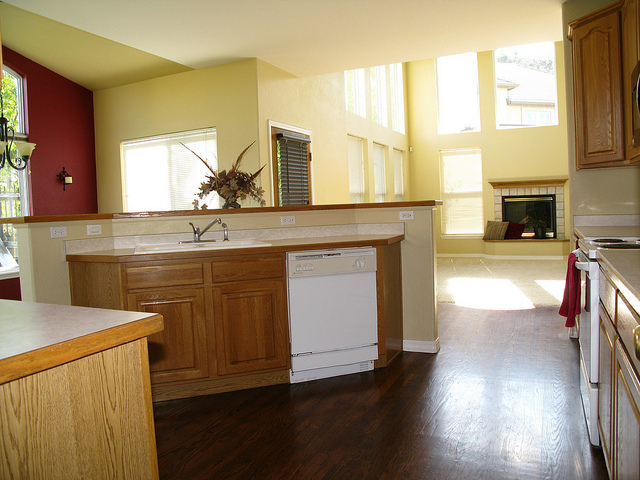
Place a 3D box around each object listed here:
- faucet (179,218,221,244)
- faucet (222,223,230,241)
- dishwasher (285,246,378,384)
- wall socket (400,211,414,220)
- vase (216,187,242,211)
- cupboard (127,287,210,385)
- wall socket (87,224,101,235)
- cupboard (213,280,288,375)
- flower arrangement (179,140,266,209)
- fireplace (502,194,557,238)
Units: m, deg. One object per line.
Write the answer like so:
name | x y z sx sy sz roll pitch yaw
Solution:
faucet | -1.004 -0.075 3.622 0.148 0.301 0.504 0 -1 -37
faucet | -0.789 -0.061 3.686 0.047 0.146 0.163 -3 6 -12
dishwasher | 0.055 0.491 3.590 0.784 1.012 0.778 -2 11 3
wall socket | 0.762 -0.213 3.859 0.093 0.071 0.023 1 9 20
vase | -0.800 -0.358 3.873 0.193 0.217 0.188 -2 9 -17
cupboard | -1.054 0.611 3.284 0.618 0.809 0.602 -7 17 -21
wall socket | -1.801 -0.080 3.514 0.056 0.082 0.108 -2 -1 35
cupboard | -0.541 0.573 3.375 0.605 0.838 0.506 -7 21 -21
flower arrangement | -0.798 -0.551 3.854 0.566 0.596 0.441 -2 11 -5
fireplace | 4.544 -0.517 9.667 1.008 1.019 0.381 -2 3 27
